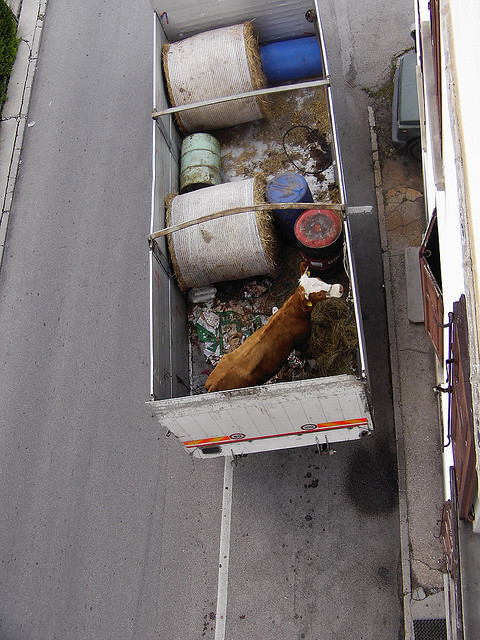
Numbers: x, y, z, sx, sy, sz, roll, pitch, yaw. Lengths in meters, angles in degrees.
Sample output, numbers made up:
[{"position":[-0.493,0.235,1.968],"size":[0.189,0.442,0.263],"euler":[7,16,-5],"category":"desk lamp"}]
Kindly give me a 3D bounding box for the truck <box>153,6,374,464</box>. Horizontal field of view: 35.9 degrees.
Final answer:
[{"position":[0.247,-1.113,10.152],"size":[2.275,3.046,9.075],"euler":[-11,68,17],"category":"truck"}]

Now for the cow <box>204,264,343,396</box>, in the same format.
[{"position":[0.472,0.134,9.381],"size":[0.336,0.798,1.365],"euler":[36,93,21],"category":"cow"}]

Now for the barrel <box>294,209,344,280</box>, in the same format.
[{"position":[1.103,-0.993,9.799],"size":[0.627,1.028,0.792],"euler":[18,81,17],"category":"barrel"}]
